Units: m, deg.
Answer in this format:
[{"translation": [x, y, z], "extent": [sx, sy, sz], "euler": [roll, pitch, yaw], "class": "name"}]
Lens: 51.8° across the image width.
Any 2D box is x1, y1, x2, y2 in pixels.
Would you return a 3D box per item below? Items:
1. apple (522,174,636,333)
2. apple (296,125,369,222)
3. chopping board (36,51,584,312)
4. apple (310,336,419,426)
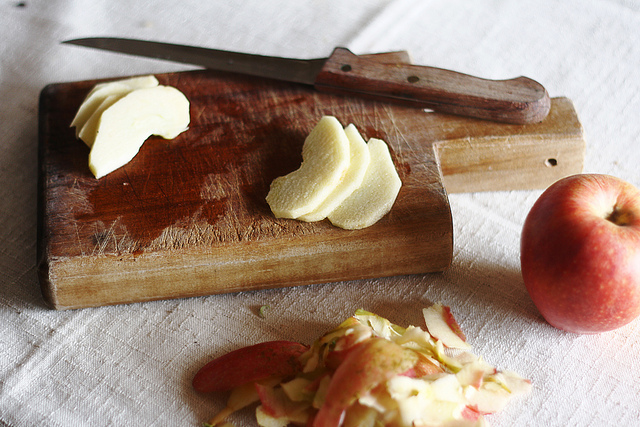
[{"translation": [0.560, 0.070, 1.531], "extent": [0.254, 0.314, 0.286], "euler": [12, 33, 12], "class": "apple"}, {"translation": [0.049, -0.081, 1.544], "extent": [0.095, 0.104, 0.241], "euler": [26, 55, 11], "class": "apple"}, {"translation": [-0.080, -0.078, 1.610], "extent": [1.081, 0.173, 0.700], "euler": [-6, 52, -9], "class": "chopping board"}, {"translation": [0.082, 0.342, 1.338], "extent": [0.236, 0.085, 0.110], "euler": [-35, 66, -28], "class": "apple"}]
